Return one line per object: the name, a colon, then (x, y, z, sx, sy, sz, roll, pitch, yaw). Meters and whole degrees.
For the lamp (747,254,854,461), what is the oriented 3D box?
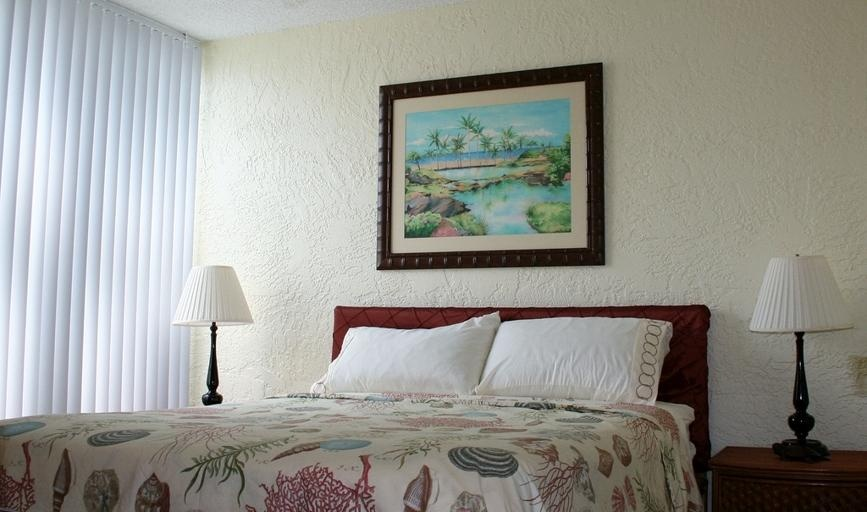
lamp: (2.121, 0.566, 3.636, 0.473, 1.131, 0.378, -3, 4, -33)

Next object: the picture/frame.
picture/frame: (0.466, -0.586, 4.384, 1.799, 1.253, 0.125, -1, -7, 14)
